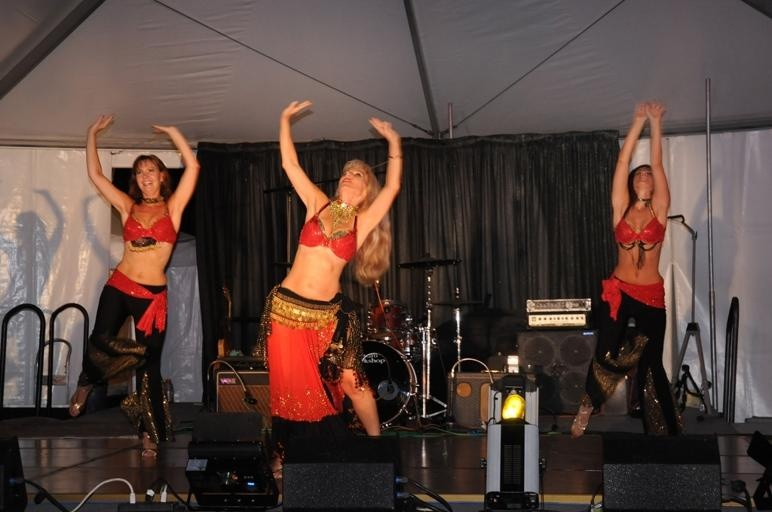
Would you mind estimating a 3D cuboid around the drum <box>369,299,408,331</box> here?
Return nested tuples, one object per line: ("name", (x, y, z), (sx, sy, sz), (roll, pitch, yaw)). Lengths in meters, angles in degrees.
("drum", (0.022, 0.641, 9.938), (0.314, 0.295, 0.320), (7, -8, -28))

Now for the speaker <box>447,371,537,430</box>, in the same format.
("speaker", (0.994, 1.276, 9.092), (1.038, 0.736, 0.641), (0, -7, 2))

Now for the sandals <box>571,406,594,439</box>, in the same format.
("sandals", (1.831, 1.552, 8.835), (0.117, 0.334, 0.137), (30, 20, 24))

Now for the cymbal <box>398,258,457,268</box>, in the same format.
("cymbal", (0.420, 0.083, 9.939), (0.265, 0.064, 0.266), (-8, -6, 43))

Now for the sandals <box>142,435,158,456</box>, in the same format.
("sandals", (-2.096, 1.671, 8.426), (0.127, 0.197, 0.291), (1, -7, -15))

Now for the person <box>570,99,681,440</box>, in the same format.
("person", (2.141, 0.112, 8.420), (0.791, 2.860, 0.457), (-2, -7, 17))

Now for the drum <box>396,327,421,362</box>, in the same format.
("drum", (0.253, 0.900, 9.756), (0.312, 0.316, 0.213), (3, -8, -8))

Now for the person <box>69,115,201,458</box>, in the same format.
("person", (-2.276, 0.216, 8.630), (1.175, 3.134, 0.557), (-4, -7, 31))

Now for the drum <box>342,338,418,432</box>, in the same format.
("drum", (-0.007, 1.281, 9.982), (0.818, 0.893, 0.884), (-14, -5, 5))

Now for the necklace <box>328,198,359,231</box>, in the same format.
("necklace", (-0.362, -0.327, 7.667), (0.195, 0.153, 0.231), (11, -26, 4))
